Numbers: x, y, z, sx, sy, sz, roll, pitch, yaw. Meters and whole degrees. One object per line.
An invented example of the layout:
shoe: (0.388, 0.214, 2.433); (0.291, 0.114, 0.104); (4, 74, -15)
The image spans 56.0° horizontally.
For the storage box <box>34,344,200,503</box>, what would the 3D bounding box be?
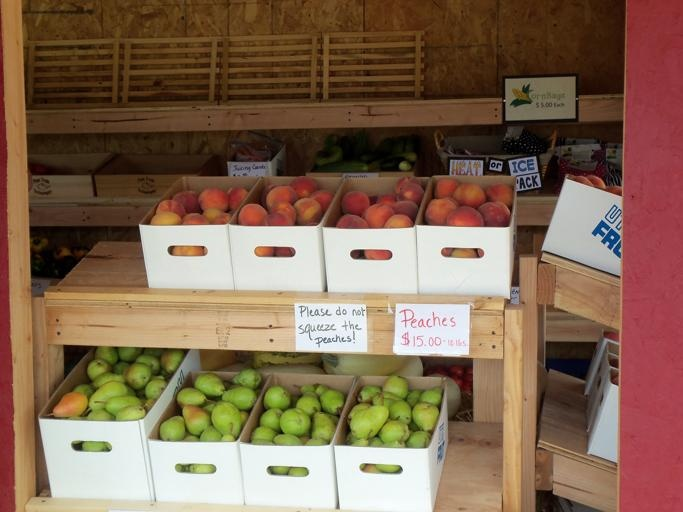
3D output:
storage box: (-0.709, 0.516, 2.038); (0.299, 0.253, 0.416); (1, 18, 7)

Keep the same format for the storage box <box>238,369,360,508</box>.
storage box: (-0.140, 0.553, 1.997); (0.342, 0.297, 0.467); (0, 16, 7)

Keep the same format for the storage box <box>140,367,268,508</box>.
storage box: (-0.393, 0.556, 2.026); (0.323, 0.291, 0.457); (0, 16, 8)

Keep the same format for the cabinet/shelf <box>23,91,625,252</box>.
cabinet/shelf: (-0.065, -0.313, 3.892); (2.197, 0.468, 0.306); (0, -14, 1)

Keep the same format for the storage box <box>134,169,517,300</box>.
storage box: (-0.024, -0.074, 1.998); (1.114, 0.282, 0.357); (1, 20, 8)
